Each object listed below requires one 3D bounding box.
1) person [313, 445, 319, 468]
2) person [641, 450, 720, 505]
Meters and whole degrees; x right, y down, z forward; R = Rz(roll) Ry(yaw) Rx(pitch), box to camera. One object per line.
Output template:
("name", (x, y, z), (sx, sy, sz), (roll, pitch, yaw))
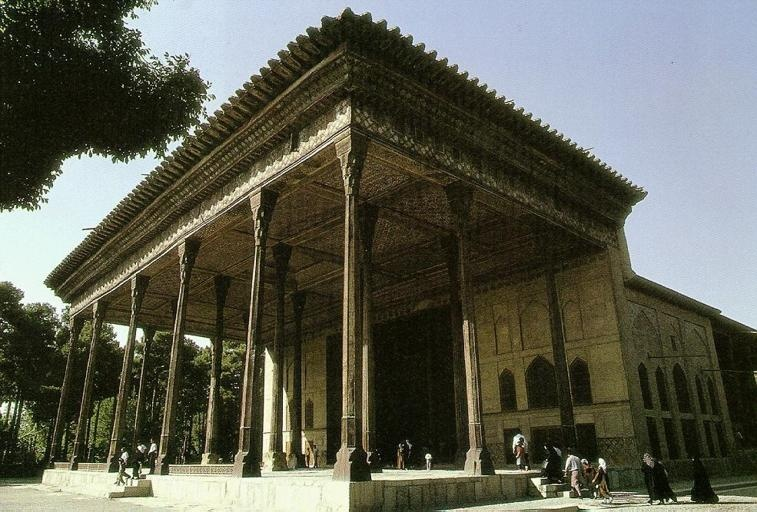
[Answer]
("person", (-2.394, 7.771, 21.805), (0.197, 0.769, 0.810), (4, -26, -10))
("person", (6.399, 4.853, 12.092), (1.512, 1.019, 0.834), (1, -25, -4))
